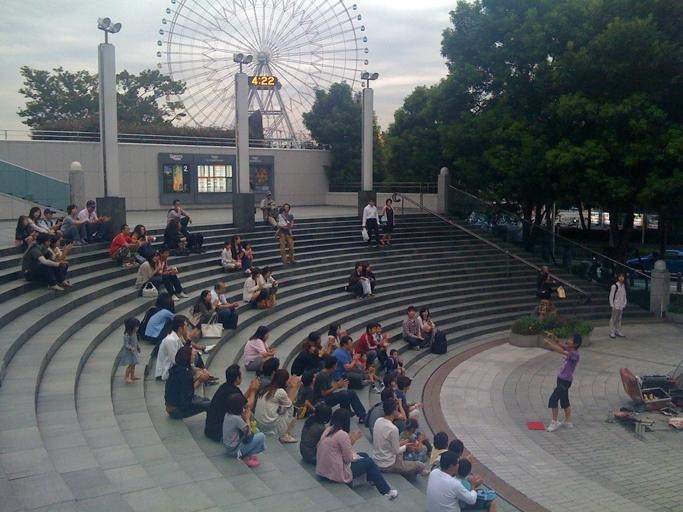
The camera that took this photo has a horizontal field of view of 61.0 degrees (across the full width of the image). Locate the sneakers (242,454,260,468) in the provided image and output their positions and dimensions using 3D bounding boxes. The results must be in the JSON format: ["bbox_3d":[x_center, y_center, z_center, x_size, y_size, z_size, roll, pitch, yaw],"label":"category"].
[{"bbox_3d":[-1.473,3.315,9.397,0.234,0.095,0.139,4,11,19],"label":"sneakers"}]

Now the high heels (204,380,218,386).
[{"bbox_3d":[-2.622,2.519,11.549,0.256,0.119,0.099,-5,14,-9],"label":"high heels"}]

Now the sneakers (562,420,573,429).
[{"bbox_3d":[5.043,3.748,12.958,0.283,0.134,0.127,10,16,30],"label":"sneakers"}]

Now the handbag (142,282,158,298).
[{"bbox_3d":[-4.861,0.829,14.518,0.321,0.336,0.133,3,19,6],"label":"handbag"}]

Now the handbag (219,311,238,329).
[{"bbox_3d":[-2.794,1.542,14.032,0.361,0.492,0.245,1,14,0],"label":"handbag"}]

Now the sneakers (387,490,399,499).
[{"bbox_3d":[0.828,3.870,9.479,0.193,0.089,0.081,-13,18,-42],"label":"sneakers"}]

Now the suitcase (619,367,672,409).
[{"bbox_3d":[7.133,3.053,13.661,1.234,0.918,0.716,-6,11,-6],"label":"suitcase"}]

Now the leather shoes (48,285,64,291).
[{"bbox_3d":[-6.610,0.720,13.394,0.118,0.160,0.337,5,8,38],"label":"leather shoes"}]

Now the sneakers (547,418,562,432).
[{"bbox_3d":[4.713,3.758,12.953,0.436,0.203,0.157,-14,7,-30],"label":"sneakers"}]

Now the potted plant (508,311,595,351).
[{"bbox_3d":[6.663,2.289,18.397,2.000,0.765,1.479,0,0,-19],"label":"potted plant"}]

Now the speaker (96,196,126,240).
[{"bbox_3d":[-6.911,-1.144,17.297,0.765,1.302,0.619,-3,7,-26],"label":"speaker"}]

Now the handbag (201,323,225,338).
[{"bbox_3d":[-3.018,1.696,13.302,0.318,0.349,0.121,2,-10,-17],"label":"handbag"}]
